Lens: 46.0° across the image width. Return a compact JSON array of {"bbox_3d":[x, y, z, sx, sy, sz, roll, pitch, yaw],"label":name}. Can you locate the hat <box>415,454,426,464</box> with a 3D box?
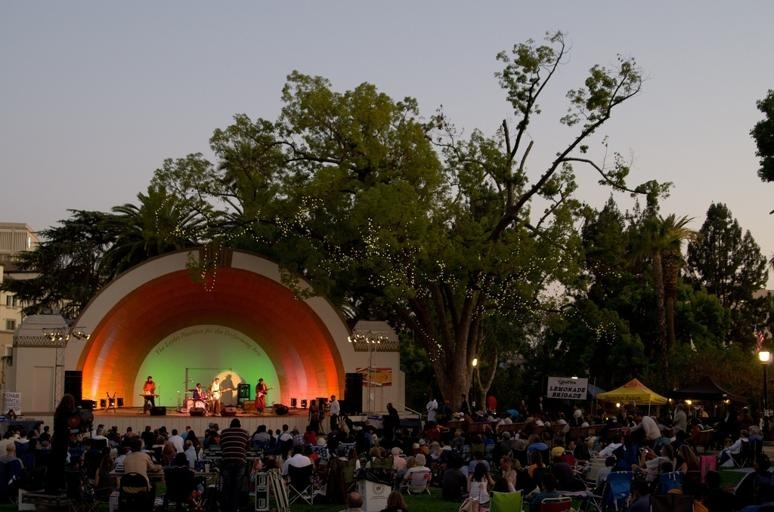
[{"bbox_3d":[1.117,6.680,30.326,0.247,0.284,0.356,5,5,29],"label":"hat"}]
